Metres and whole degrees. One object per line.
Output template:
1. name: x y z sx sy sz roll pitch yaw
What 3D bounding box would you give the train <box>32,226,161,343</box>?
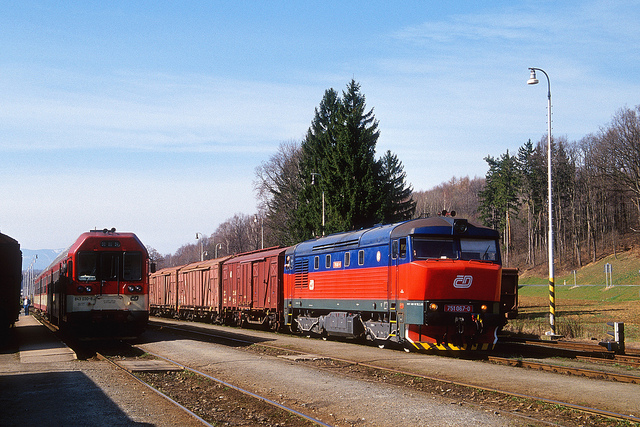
1. train: -13.826 4.360 35.466 4.007 5.053 18.334 1 -8 -30

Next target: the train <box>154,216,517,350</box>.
1. train: -2.356 4.375 37.000 3.759 5.226 32.407 8 -10 -28
